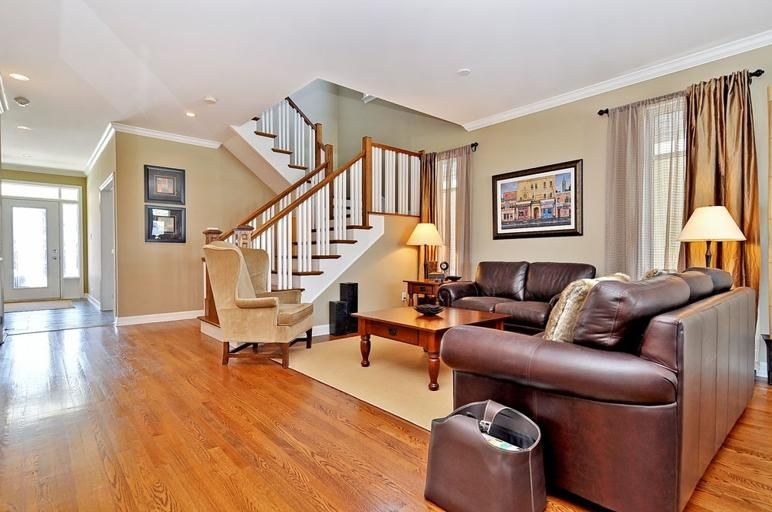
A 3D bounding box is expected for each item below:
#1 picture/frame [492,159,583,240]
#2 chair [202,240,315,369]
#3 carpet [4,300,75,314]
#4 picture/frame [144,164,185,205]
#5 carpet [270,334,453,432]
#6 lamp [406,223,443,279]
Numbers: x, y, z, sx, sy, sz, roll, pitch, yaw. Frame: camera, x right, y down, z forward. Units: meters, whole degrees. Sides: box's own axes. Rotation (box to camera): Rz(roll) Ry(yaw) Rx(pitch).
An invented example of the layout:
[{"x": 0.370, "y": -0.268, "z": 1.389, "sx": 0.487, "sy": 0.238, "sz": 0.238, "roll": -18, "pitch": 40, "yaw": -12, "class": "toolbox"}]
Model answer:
[{"x": 2.090, "y": -0.769, "z": 6.609, "sx": 1.180, "sy": 0.904, "sz": 0.048, "roll": -2, "pitch": -4, "yaw": 41, "class": "picture/frame"}, {"x": -1.398, "y": 0.494, "z": 5.589, "sx": 1.234, "sy": 1.253, "sz": 1.189, "roll": 3, "pitch": 2, "yaw": -22, "class": "chair"}, {"x": -6.279, "y": 0.897, "z": 8.906, "sx": 0.988, "sy": 0.114, "sz": 1.553, "roll": 0, "pitch": -2, "yaw": -37, "class": "carpet"}, {"x": -3.381, "y": -1.083, "z": 7.418, "sx": 0.589, "sy": 0.554, "sz": 0.042, "roll": -11, "pitch": 9, "yaw": -43, "class": "picture/frame"}, {"x": -0.036, "y": 1.231, "z": 5.116, "sx": 1.449, "sy": 0.442, "sz": 2.199, "roll": 1, "pitch": -2, "yaw": -42, "class": "carpet"}, {"x": 0.587, "y": -0.075, "z": 7.298, "sx": 0.505, "sy": 0.824, "sz": 0.591, "roll": -1, "pitch": -1, "yaw": 4, "class": "lamp"}]
